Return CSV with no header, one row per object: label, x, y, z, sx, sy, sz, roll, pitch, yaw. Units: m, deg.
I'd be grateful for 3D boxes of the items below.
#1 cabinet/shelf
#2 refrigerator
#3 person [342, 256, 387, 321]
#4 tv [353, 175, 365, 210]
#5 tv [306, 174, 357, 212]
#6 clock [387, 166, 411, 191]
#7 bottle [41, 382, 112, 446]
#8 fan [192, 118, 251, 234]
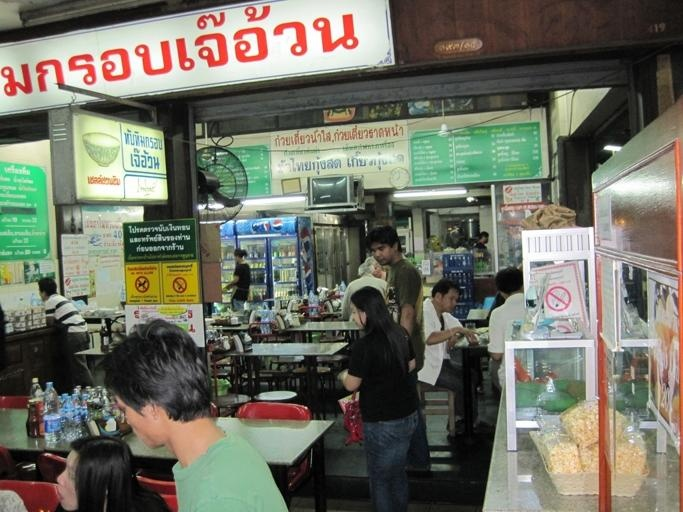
cabinet/shelf,1.096,0.793,3.197,0.454,0.475,0.562,3,44,16
refrigerator,-2.035,0.261,13.787,2.158,2.101,0.811,-3,-3,-43
person,0.339,0.501,8.326,0.752,0.699,0.407,-3,24,0
tv,0.257,-1.070,10.026,0.195,0.537,0.564,-1,0,6
tv,-0.278,-1.088,10.229,0.894,0.611,0.475,-6,14,-19
clock,0.855,-1.218,9.370,0.320,0.327,0.059,2,3,19
bottle,-1.866,1.113,4.359,0.463,0.202,0.465,1,5,0
fan,-1.132,-0.723,5.225,0.653,0.920,0.465,5,4,3
